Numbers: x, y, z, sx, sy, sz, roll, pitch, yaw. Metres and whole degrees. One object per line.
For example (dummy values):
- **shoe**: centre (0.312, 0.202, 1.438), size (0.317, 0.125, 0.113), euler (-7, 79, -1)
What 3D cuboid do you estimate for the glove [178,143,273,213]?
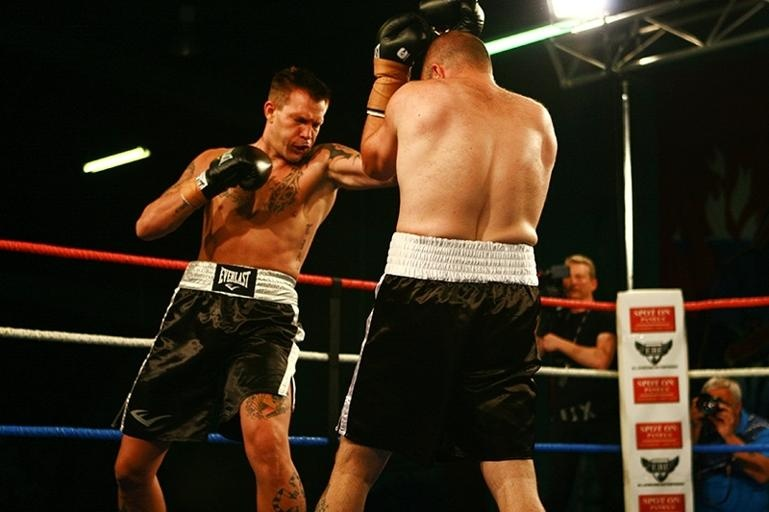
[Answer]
- **glove**: centre (-1.023, -0.512, 5.493), size (0.724, 0.321, 0.506), euler (-20, 2, -7)

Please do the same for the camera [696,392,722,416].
- **camera**: centre (2.559, 1.174, 6.538), size (0.167, 0.164, 0.056), euler (0, -9, -19)

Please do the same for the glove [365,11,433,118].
- **glove**: centre (0.072, -1.188, 5.232), size (0.431, 0.618, 0.243), euler (9, 0, -5)
